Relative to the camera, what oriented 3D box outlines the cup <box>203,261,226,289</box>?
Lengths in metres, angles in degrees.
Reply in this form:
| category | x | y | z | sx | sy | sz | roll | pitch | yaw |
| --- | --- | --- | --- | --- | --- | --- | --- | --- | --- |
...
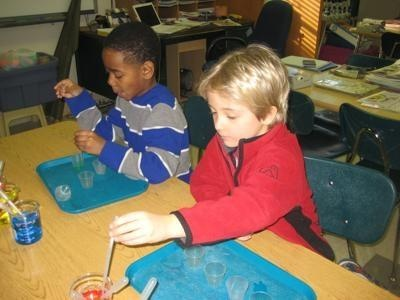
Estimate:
| category | x | y | z | sx | sy | sz | roll | pitch | yaw |
| --- | --- | --- | --- | --- | --- | --- | --- | --- | --- |
| cup | 0.040 | 0.345 | 0.909 | 0.058 | 0.031 | 0.070 | 9 | 27 | 15 |

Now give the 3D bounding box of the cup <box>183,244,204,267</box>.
| category | x | y | z | sx | sy | sz | roll | pitch | yaw |
| --- | --- | --- | --- | --- | --- | --- | --- | --- | --- |
| cup | -0.017 | 0.311 | 0.953 | 0.049 | 0.040 | 0.055 | -3 | 20 | -3 |

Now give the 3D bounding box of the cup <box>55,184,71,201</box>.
| category | x | y | z | sx | sy | sz | roll | pitch | yaw |
| --- | --- | --- | --- | --- | --- | --- | --- | --- | --- |
| cup | -0.502 | 0.160 | 1.193 | 0.052 | 0.038 | 0.052 | 8 | 18 | -3 |

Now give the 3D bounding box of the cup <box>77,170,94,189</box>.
| category | x | y | z | sx | sy | sz | roll | pitch | yaw |
| --- | --- | --- | --- | --- | --- | --- | --- | --- | --- |
| cup | -0.444 | 0.115 | 1.268 | 0.059 | 0.048 | 0.061 | 1 | 38 | -1 |

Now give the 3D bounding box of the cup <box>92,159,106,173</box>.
| category | x | y | z | sx | sy | sz | roll | pitch | yaw |
| --- | --- | --- | --- | --- | --- | --- | --- | --- | --- |
| cup | -0.424 | 0.074 | 1.364 | 0.051 | 0.041 | 0.050 | -7 | 23 | 3 |

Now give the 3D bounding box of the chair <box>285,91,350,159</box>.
| category | x | y | z | sx | sy | sz | roll | pitch | yaw |
| --- | --- | --- | --- | --- | --- | --- | --- | --- | --- |
| chair | 0.765 | -0.163 | 2.100 | 0.265 | 0.419 | 0.242 | -23 | 43 | -21 |
